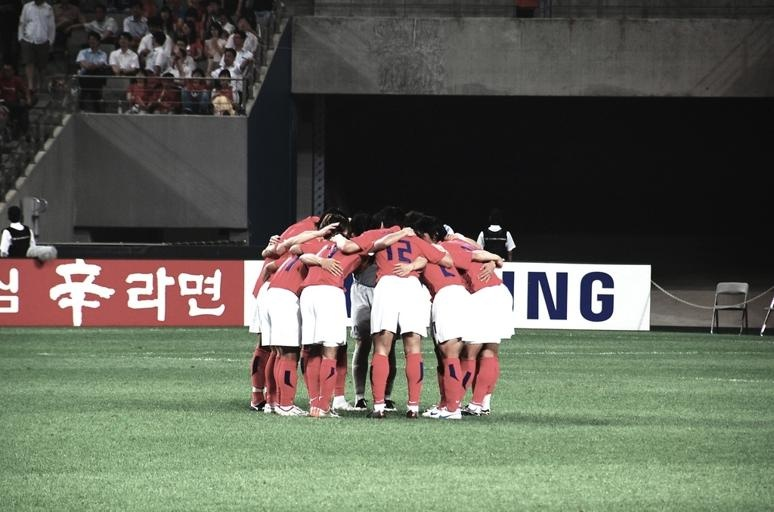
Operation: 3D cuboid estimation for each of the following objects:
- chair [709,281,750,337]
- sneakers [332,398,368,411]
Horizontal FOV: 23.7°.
[{"bbox_3d":[7.766,1.168,41.438,0.848,1.104,0.946,2,1,36],"label":"chair"},{"bbox_3d":[-0.651,2.618,32.699,0.670,0.285,0.233,0,1,4],"label":"sneakers"}]
